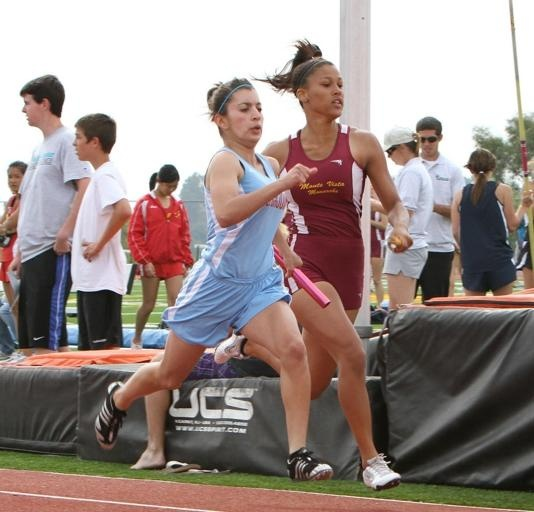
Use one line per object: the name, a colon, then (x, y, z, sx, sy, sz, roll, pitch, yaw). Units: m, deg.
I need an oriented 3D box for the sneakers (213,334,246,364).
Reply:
sneakers: (-0.208, 0.512, 4.068, 0.123, 0.088, 0.267, -22, -13, -29)

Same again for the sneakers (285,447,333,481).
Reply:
sneakers: (0.173, 0.832, 2.971, 0.089, 0.100, 0.231, 3, -10, -40)

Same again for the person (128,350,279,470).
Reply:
person: (-0.302, 0.866, 4.263, 0.818, 0.747, 0.627, 3, -15, -2)

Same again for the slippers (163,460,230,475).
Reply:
slippers: (-0.368, 1.100, 3.818, 0.224, 0.042, 0.110, 0, -6, 4)

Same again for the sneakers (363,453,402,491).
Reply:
sneakers: (0.471, 0.906, 3.128, 0.114, 0.122, 0.296, -8, -9, -10)

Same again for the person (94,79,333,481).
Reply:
person: (-0.161, 0.052, 3.301, 0.568, 1.696, 1.171, 0, 0, -39)
